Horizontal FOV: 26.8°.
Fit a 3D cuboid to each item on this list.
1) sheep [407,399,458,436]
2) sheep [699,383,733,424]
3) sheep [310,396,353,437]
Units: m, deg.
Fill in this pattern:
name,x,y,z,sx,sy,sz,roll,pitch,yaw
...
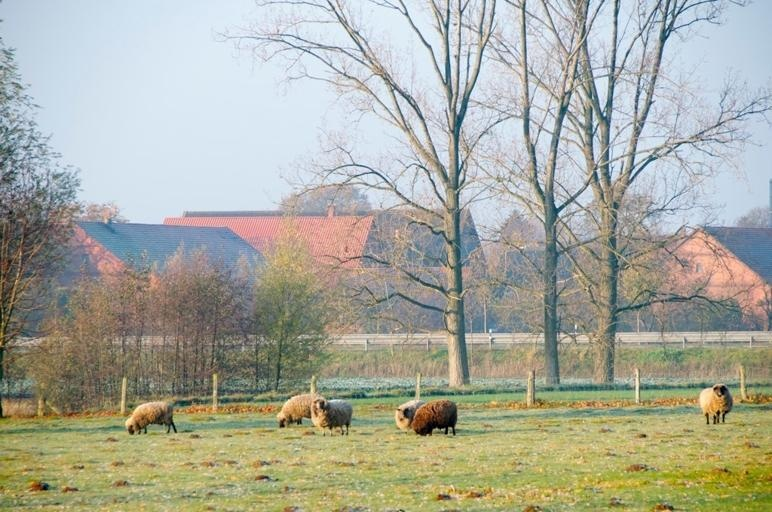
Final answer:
name,x,y,z,sx,sy,sz,roll,pitch,yaw
sheep,2.660,9.022,89.767,3.098,2.165,1.659,-4,8,-29
sheep,18.684,8.479,90.917,1.509,2.251,3.568,-2,-9,0
sheep,-3.046,9.097,90.685,1.637,2.220,3.455,1,1,27
